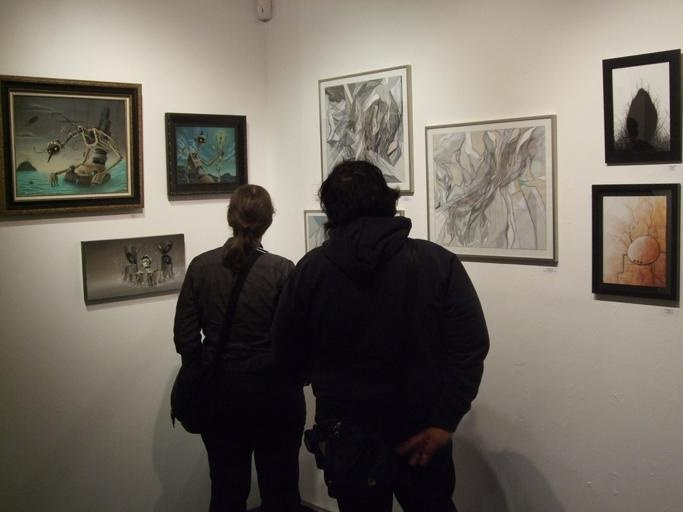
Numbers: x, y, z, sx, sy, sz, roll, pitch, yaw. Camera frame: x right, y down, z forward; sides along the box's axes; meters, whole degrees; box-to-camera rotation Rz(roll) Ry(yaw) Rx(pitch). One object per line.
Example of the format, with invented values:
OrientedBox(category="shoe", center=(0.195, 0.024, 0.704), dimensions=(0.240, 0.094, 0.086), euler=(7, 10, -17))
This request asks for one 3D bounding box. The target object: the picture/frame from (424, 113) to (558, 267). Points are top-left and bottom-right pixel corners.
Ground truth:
OrientedBox(category="picture/frame", center=(1.014, -0.441, 3.500), dimensions=(0.791, 1.076, 0.030), euler=(0, -24, 15))

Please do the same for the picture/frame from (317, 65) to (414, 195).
OrientedBox(category="picture/frame", center=(0.165, -0.976, 3.943), dimensions=(0.681, 1.016, 0.026), euler=(-2, -25, 3))

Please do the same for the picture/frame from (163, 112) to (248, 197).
OrientedBox(category="picture/frame", center=(-1.084, -0.799, 4.180), dimensions=(0.592, 0.771, 0.043), euler=(0, -23, -17))

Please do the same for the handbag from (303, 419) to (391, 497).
OrientedBox(category="handbag", center=(0.022, 0.949, 2.484), dimensions=(0.285, 0.366, 0.404), euler=(-34, -16, -12))
